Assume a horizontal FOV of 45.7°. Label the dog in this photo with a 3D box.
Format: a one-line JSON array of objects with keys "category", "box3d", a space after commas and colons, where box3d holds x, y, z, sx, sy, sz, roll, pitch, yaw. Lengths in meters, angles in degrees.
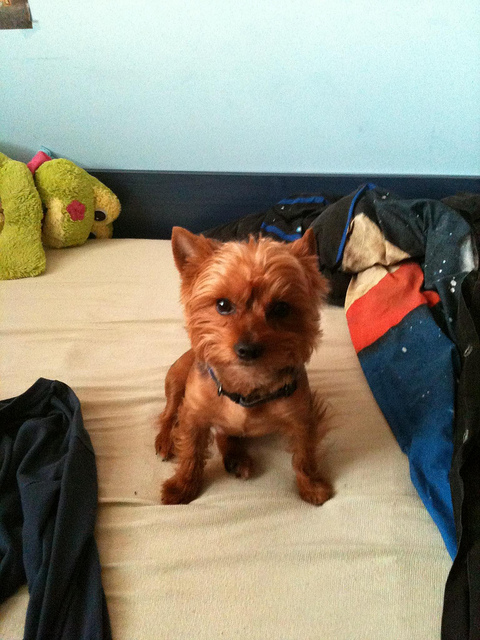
[{"category": "dog", "box3d": [0.024, 0.117, 1.453, 0.443, 0.628, 0.460, 1, 38, -1]}]
